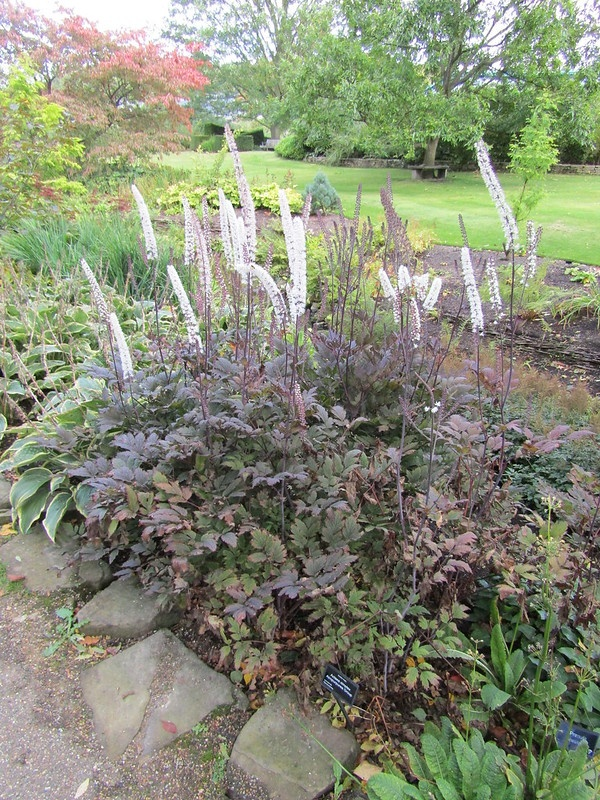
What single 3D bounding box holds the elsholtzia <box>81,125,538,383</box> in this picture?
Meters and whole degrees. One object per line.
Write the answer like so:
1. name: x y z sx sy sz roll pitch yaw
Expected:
1. elsholtzia: 0.159 -0.498 2.530 2.077 0.797 1.207 8 48 3
